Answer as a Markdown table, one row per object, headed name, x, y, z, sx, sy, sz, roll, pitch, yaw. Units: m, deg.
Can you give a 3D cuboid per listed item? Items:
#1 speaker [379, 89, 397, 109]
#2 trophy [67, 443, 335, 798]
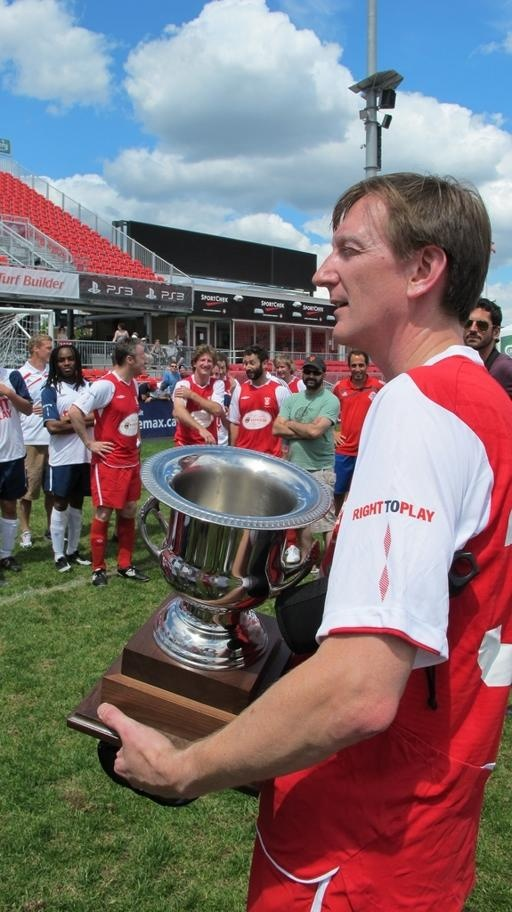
| name | x | y | z | sx | sy | sz | roll | pitch | yaw |
| --- | --- | --- | --- | --- | --- | --- | --- | --- | --- |
| speaker | 1.720 | -4.701 | 9.516 | 0.194 | 0.255 | 0.310 | 2 | 7 | 6 |
| trophy | -0.054 | 0.290 | 1.438 | 0.504 | 0.607 | 0.522 | -1 | 21 | -24 |
